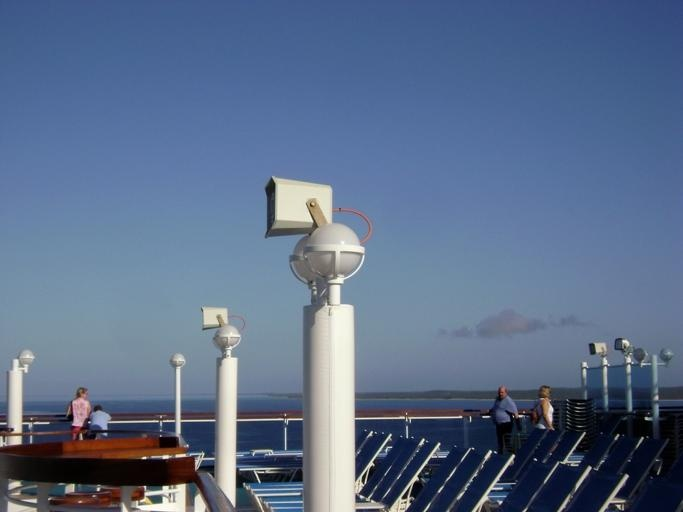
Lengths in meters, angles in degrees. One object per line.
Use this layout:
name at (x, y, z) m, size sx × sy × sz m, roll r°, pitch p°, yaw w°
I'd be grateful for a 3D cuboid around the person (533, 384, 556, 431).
person at (7.884, 6.020, 60.391) m, size 0.711 × 1.716 × 0.549 m, roll -3°, pitch -9°, yaw 3°
